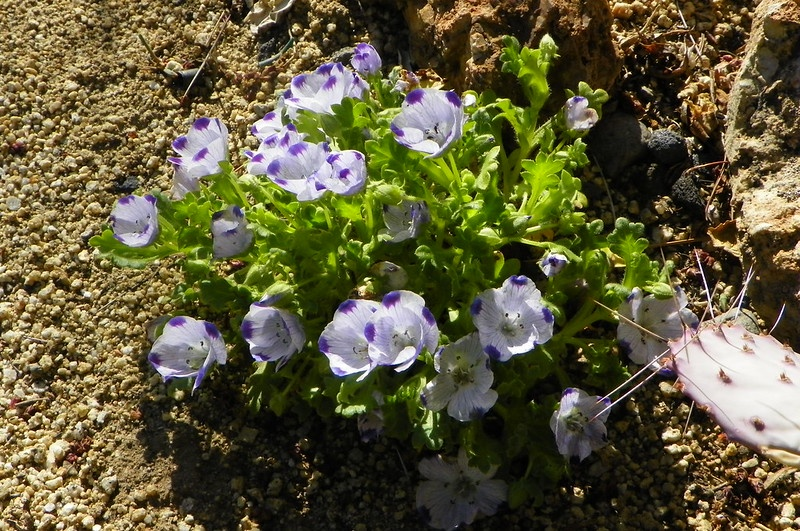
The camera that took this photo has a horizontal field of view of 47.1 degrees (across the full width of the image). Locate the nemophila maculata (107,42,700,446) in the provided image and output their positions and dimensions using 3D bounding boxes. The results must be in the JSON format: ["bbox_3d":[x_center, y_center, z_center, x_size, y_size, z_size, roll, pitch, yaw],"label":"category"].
[{"bbox_3d":[-0.035,-0.074,4.815,2.538,1.126,1.878,-1,80,2],"label":"nemophila maculata"}]
